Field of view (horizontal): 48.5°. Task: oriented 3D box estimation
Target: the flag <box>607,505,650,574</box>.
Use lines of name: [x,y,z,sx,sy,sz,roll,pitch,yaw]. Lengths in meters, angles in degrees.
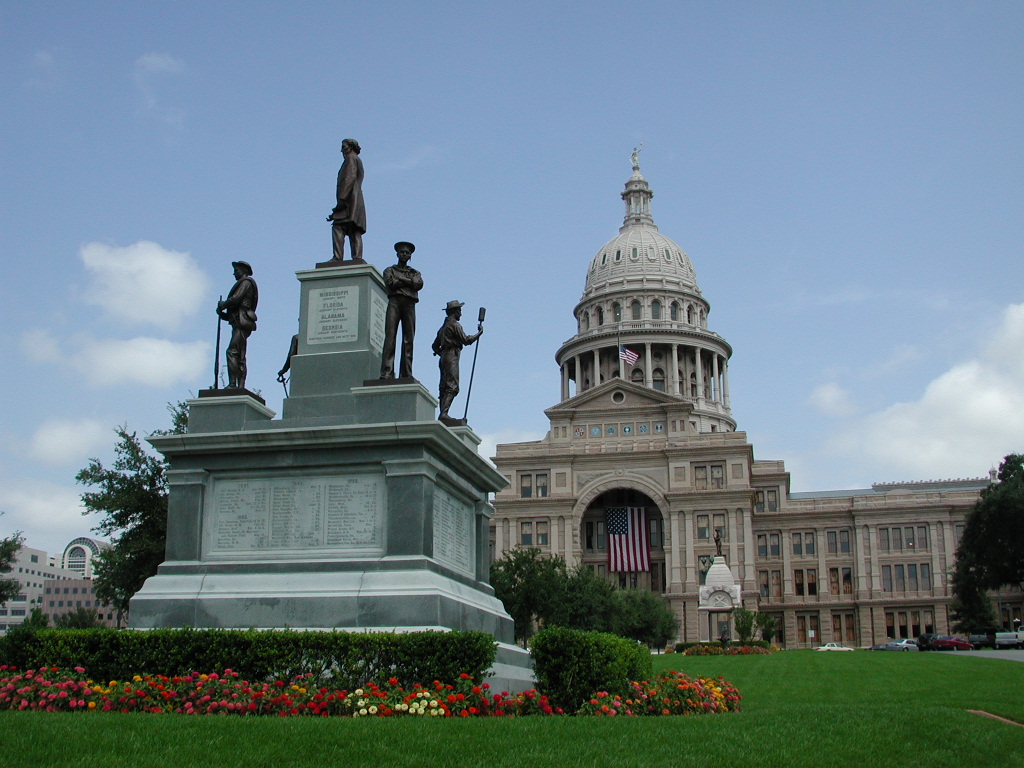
flag: [10.743,14.835,106.894,5.591,8.258,0.441,-2,-9,6]
